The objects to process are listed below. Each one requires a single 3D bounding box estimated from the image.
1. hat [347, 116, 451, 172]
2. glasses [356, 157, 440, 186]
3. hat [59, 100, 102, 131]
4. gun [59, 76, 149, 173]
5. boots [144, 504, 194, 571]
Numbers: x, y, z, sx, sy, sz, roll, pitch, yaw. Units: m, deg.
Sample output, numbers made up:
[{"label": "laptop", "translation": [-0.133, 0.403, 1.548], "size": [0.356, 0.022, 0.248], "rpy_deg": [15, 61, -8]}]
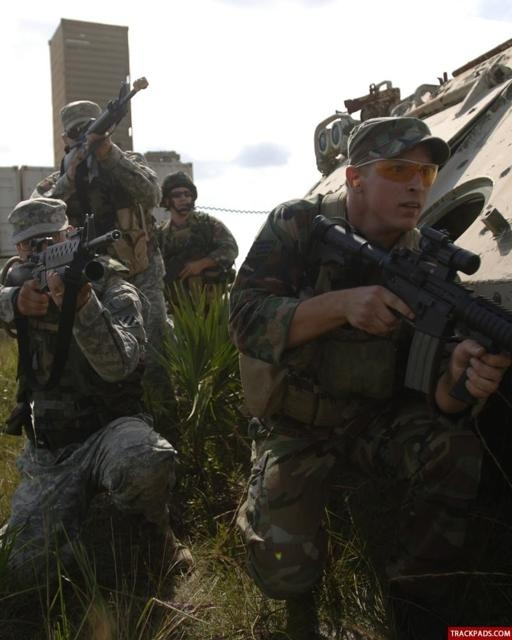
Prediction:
[{"label": "hat", "translation": [0.474, -0.652, 2.123], "size": [0.278, 0.122, 0.370], "rpy_deg": [-18, 19, -30]}, {"label": "glasses", "translation": [0.477, -0.506, 2.033], "size": [0.272, 0.080, 0.103], "rpy_deg": [3, -2, 8]}, {"label": "hat", "translation": [-1.374, -1.587, 4.682], "size": [0.307, 0.236, 0.222], "rpy_deg": [-11, 4, -20]}, {"label": "gun", "translation": [-1.093, -1.433, 4.335], "size": [0.906, 0.264, 0.154], "rpy_deg": [-24, 17, 38]}, {"label": "boots", "translation": [-0.390, 0.977, 2.643], "size": [0.085, 0.312, 0.096], "rpy_deg": [-16, 17, 40]}]
